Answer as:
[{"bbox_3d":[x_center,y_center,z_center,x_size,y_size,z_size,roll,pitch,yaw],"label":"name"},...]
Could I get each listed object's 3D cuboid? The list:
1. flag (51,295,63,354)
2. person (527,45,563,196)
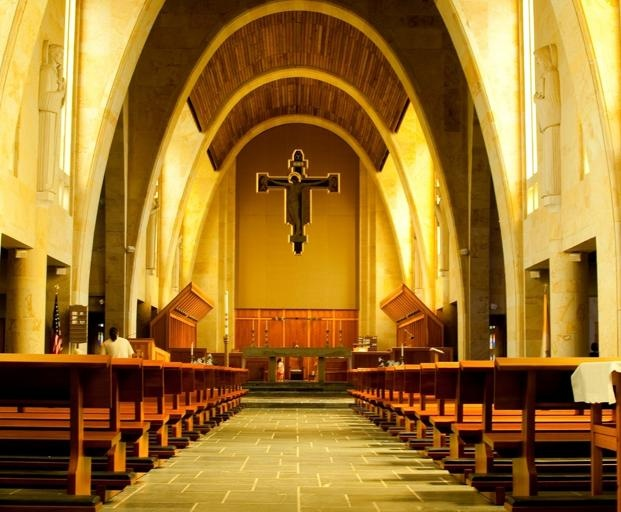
[{"bbox_3d":[-4.123,1.072,14.836,0.181,1.003,0.652,3,-11,-16],"label":"flag"},{"bbox_3d":[3.407,-1.901,12.947,0.373,2.279,0.353,-5,-11,25],"label":"person"}]
